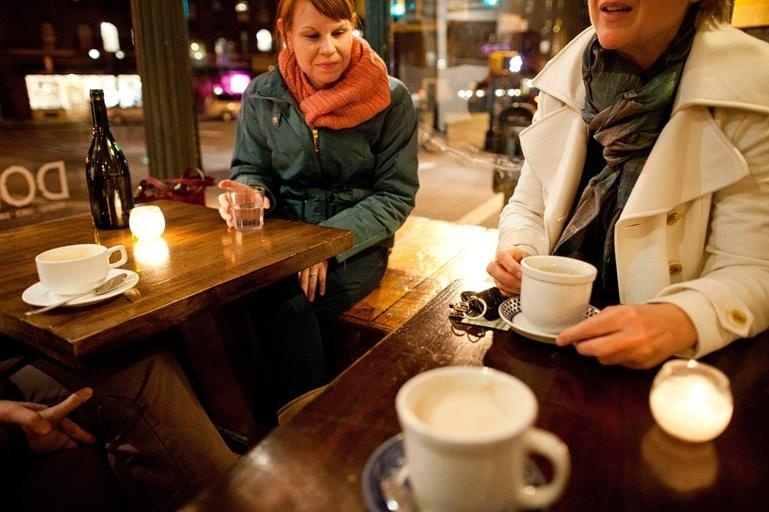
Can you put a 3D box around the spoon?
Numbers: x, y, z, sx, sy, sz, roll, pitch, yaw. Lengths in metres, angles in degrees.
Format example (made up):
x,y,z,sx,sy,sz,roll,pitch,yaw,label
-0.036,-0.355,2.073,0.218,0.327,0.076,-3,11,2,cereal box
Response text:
x,y,z,sx,sy,sz,roll,pitch,yaw,label
-0.928,0.080,1.731,0.082,0.059,0.407,-13,10,23,spoon

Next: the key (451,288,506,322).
x,y,z,sx,sy,sz,roll,pitch,yaw,label
0.279,0.145,1.624,0.118,0.034,0.089,2,31,12,key

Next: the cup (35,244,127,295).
x,y,z,sx,sy,sz,roll,pitch,yaw,label
-0.975,0.040,1.753,0.164,0.096,0.219,14,19,36,cup
